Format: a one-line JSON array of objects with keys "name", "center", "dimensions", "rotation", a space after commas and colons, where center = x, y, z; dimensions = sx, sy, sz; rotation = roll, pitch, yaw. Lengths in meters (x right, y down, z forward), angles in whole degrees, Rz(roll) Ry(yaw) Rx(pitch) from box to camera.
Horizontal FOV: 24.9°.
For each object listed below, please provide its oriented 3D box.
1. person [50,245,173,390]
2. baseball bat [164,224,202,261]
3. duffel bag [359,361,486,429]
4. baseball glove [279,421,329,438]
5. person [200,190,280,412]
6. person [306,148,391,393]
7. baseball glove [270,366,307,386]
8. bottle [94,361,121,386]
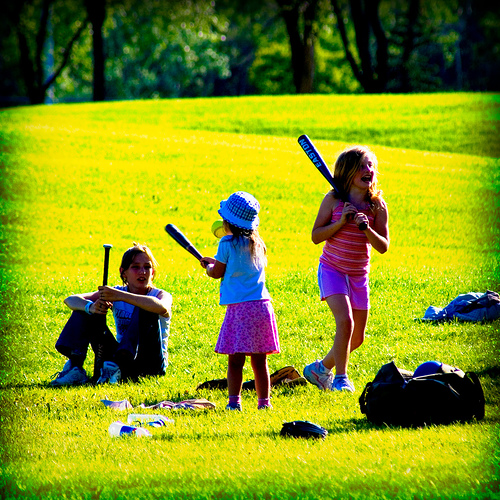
[{"name": "person", "center": [-1.170, 0.643, 10.488], "dimensions": [1.096, 1.521, 1.008], "rotation": [10, -10, -43]}, {"name": "baseball bat", "center": [-0.801, -0.058, 13.338], "dimensions": [0.083, 0.528, 0.066], "rotation": [-25, -16, -46]}, {"name": "duffel bag", "center": [1.409, 1.229, 9.322], "dimensions": [0.949, 0.661, 0.790], "rotation": [3, -13, -9]}, {"name": "baseball glove", "center": [0.425, 1.403, 8.834], "dimensions": [0.211, 0.091, 0.170], "rotation": [0, 3, -2]}, {"name": "person", "center": [-0.065, 0.457, 9.506], "dimensions": [0.598, 1.805, 0.564], "rotation": [-1, 12, -5]}, {"name": "person", "center": [0.879, 0.188, 9.968], "dimensions": [0.626, 2.096, 0.523], "rotation": [-7, 13, -31]}, {"name": "baseball glove", "center": [0.331, 1.136, 10.254], "dimensions": [0.262, 0.145, 0.159], "rotation": [-4, -6, 44]}, {"name": "bottle", "center": [-1.279, 1.139, 10.324], "dimensions": [0.133, 0.185, 0.252], "rotation": [2, -11, -6]}]
